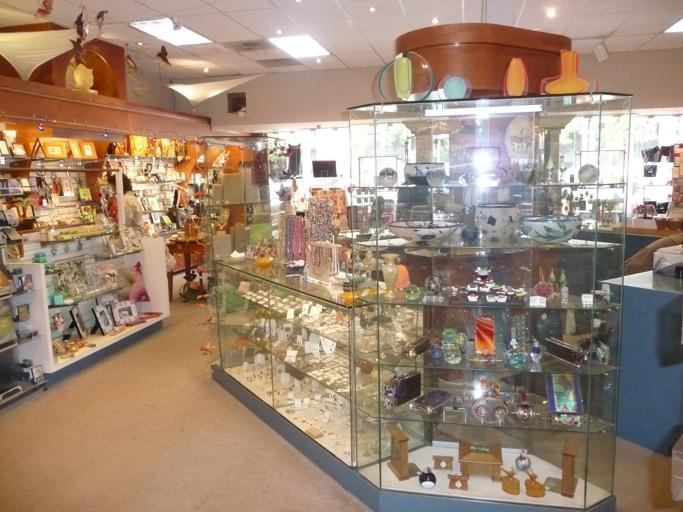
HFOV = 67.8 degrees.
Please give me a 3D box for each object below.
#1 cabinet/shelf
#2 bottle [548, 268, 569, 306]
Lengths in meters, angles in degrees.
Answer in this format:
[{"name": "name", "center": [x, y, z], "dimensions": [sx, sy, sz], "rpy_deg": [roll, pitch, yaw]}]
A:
[{"name": "cabinet/shelf", "center": [0.409, 0.249, 3.684], "dimensions": [2.954, 2.649, 1.196], "rpy_deg": [10, 17, 39]}, {"name": "bottle", "center": [1.372, 0.192, 3.179], "dimensions": [0.122, 0.223, 0.044], "rpy_deg": [5, 14, 23]}]
